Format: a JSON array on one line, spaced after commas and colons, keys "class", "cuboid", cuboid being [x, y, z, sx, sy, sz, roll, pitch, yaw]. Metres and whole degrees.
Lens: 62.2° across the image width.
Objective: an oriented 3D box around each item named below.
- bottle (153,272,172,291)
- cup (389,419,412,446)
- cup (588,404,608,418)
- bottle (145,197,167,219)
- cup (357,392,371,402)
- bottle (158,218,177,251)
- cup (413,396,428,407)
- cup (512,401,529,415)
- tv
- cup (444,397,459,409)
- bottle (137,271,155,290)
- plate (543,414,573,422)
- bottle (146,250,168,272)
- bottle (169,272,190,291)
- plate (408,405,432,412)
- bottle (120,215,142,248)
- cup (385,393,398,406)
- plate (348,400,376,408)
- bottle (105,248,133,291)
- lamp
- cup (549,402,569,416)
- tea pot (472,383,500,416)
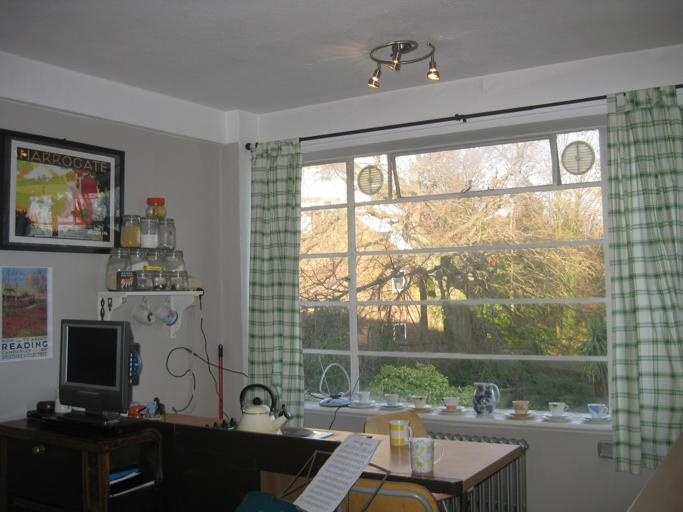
[{"class": "bottle", "cuboid": [-1.267, 0.179, 3.985, 0.112, 0.119, 0.119, 0, -2, -4]}, {"class": "cup", "cuboid": [0.310, 0.975, 3.155, 0.136, 0.118, 0.106, 4, -8, -6]}, {"class": "cup", "cuboid": [1.893, 1.132, 4.179, 0.111, 0.077, 0.092, -3, -12, 28]}, {"class": "bottle", "cuboid": [-1.362, -0.324, 4.130, 0.167, 0.175, 0.170, -2, -5, 26]}, {"class": "cup", "cuboid": [0.182, 1.190, 4.800, 0.083, 0.058, 0.070, -11, -11, 28]}, {"class": "bottle", "cuboid": [-1.281, -0.160, 4.120, 0.113, 0.224, 0.052, 3, -3, -41]}, {"class": "cup", "cuboid": [0.632, 1.176, 4.602, 0.082, 0.064, 0.082, 1, -8, 0]}, {"class": "cup", "cuboid": [1.368, 1.149, 4.327, 0.104, 0.076, 0.095, -1, -7, 0]}, {"class": "tv", "cuboid": [-1.536, 0.660, 3.510, 0.592, 0.534, 0.179, -1, -3, 36]}, {"class": "cup", "cuboid": [0.868, 1.166, 4.504, 0.087, 0.070, 0.086, -3, -5, 0]}, {"class": "bottle", "cuboid": [-1.376, 0.168, 3.912, 0.117, 0.130, 0.119, -1, -3, 23]}, {"class": "plate", "cuboid": [1.607, 1.198, 4.221, 0.211, 0.043, 0.167, 0, -3, 16]}, {"class": "bottle", "cuboid": [-1.334, 0.042, 4.054, 0.142, 0.204, 0.147, -3, -6, 0]}, {"class": "bottle", "cuboid": [-1.186, 0.175, 4.111, 0.068, 0.141, 0.172, 0, -3, 26]}, {"class": "plate", "cuboid": [0.643, 1.237, 4.619, 0.174, 0.041, 0.130, 1, -3, 6]}, {"class": "bottle", "cuboid": [-1.504, -0.175, 4.009, 0.133, 0.231, 0.067, 2, -2, -17]}, {"class": "cup", "cuboid": [0.420, 1.196, 4.743, 0.089, 0.065, 0.091, -1, -9, 0]}, {"class": "plate", "cuboid": [0.172, 1.247, 4.816, 0.220, 0.051, 0.183, 1, -3, 5]}, {"class": "bottle", "cuboid": [-1.556, 0.089, 3.939, 0.190, 0.296, 0.159, 2, -2, -14]}, {"class": "lamp", "cuboid": [0.416, -1.266, 3.916, 0.469, 0.321, 0.659, 1, -3, 8]}, {"class": "cup", "cuboid": [1.635, 1.140, 4.244, 0.107, 0.076, 0.093, 2, -14, 7]}, {"class": "tea pot", "cuboid": [1.123, 1.118, 4.435, 0.239, 0.237, 0.184, 0, -6, 21]}]
